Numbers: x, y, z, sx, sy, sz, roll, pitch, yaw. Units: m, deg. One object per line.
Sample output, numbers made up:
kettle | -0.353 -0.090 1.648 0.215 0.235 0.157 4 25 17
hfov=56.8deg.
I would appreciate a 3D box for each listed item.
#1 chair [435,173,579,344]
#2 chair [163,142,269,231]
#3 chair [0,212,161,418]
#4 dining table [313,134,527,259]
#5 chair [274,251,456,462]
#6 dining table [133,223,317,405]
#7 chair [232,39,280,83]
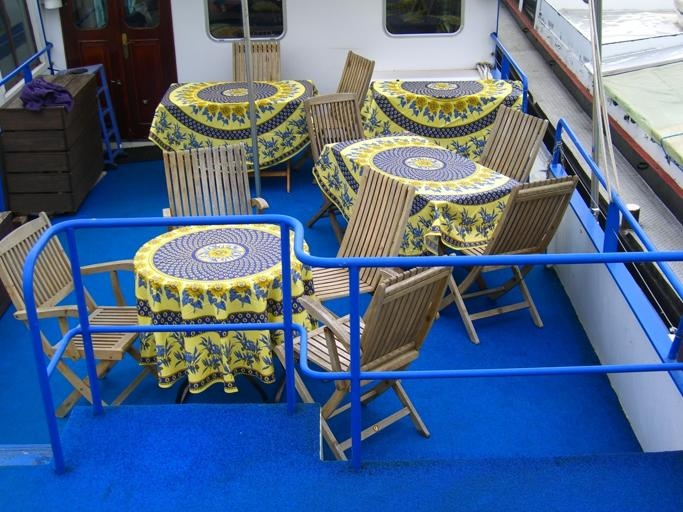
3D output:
chair | 1.597 -0.041 5.930 1.164 1.473 0.787 -10 33 -20
chair | -1.309 -0.738 6.587 0.799 1.259 0.881 -10 34 -13
chair | -2.097 0.534 5.019 1.061 1.658 1.002 3 31 0
dining table | 0.720 -0.730 6.894 1.521 0.715 2.539 -9 29 -24
chair | 0.113 0.641 4.785 1.184 1.543 1.230 12 24 18
dining table | -0.999 0.496 5.197 1.325 0.835 1.315 -5 11 -17
chair | -1.225 -2.834 9.143 0.718 0.508 0.514 -3 32 -9
